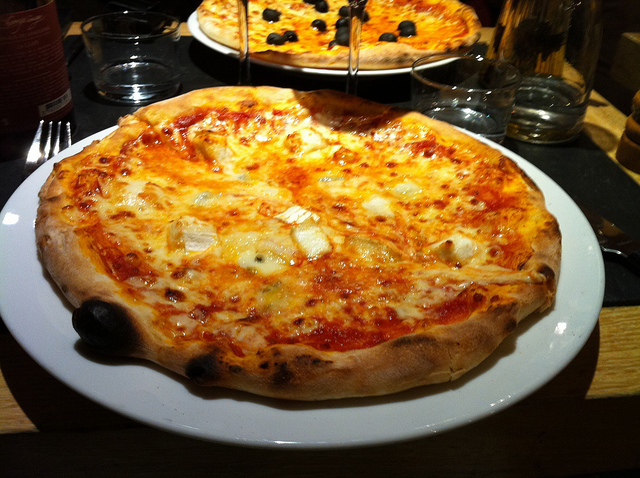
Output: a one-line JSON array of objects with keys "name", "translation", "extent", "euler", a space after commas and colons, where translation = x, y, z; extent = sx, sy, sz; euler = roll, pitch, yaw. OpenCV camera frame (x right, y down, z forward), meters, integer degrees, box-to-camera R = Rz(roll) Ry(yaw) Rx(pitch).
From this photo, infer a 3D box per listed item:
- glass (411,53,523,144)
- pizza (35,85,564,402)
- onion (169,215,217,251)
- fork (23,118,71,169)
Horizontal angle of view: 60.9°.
[{"name": "glass", "translation": [0.334, -0.290, 1.304], "extent": [0.260, 0.221, 0.180], "euler": [10, 66, 33]}, {"name": "pizza", "translation": [-0.028, 0.045, 0.874], "extent": [0.631, 0.092, 0.577], "euler": [13, 35, 14]}, {"name": "onion", "translation": [-0.206, -0.008, 0.869], "extent": [0.062, 0.018, 0.062], "euler": [-27, 55, -24]}, {"name": "fork", "translation": [-0.563, -0.186, 1.120], "extent": [0.055, 0.024, 0.163], "euler": [11, 46, -23]}]
